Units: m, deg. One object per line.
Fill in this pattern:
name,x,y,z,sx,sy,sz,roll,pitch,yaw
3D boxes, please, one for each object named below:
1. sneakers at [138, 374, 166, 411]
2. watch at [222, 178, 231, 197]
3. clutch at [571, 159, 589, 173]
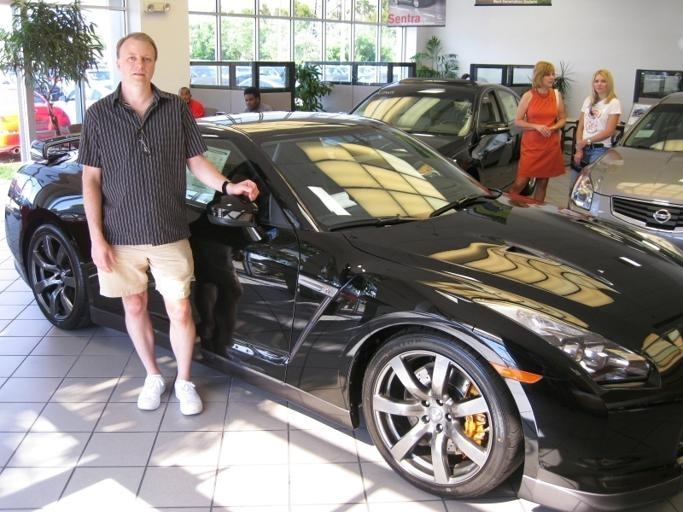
sneakers,-1.126,0.828,2.740,0.122,0.093,0.262,3,9,-6
watch,-0.637,-0.382,2.485,0.052,0.078,0.071,3,31,-25
clutch,3.143,-1.210,5.945,0.260,0.196,0.085,18,14,39
